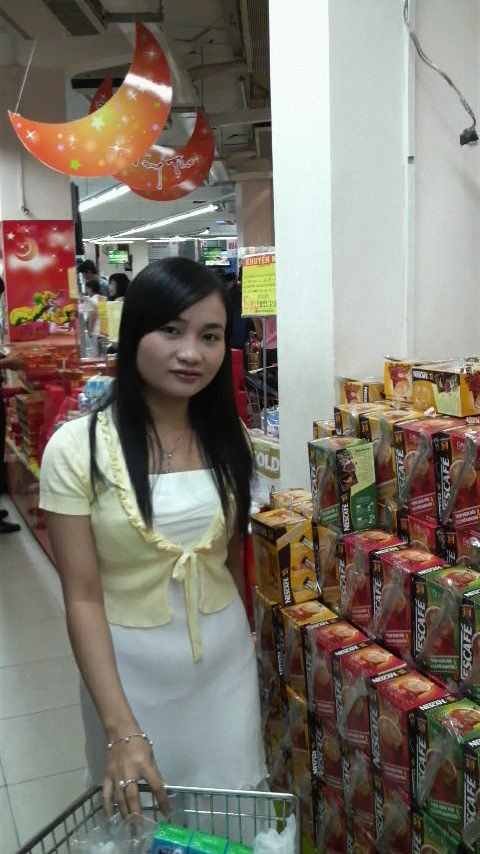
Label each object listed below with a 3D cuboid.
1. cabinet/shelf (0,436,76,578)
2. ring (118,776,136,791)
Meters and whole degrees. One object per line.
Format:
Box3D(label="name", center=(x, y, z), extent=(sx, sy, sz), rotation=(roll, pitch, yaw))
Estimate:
Box3D(label="cabinet/shelf", center=(-1.123, 0.458, 3.018), extent=(0.224, 0.681, 0.762), rotation=(-11, 40, -18))
Box3D(label="ring", center=(-0.135, 0.419, 0.667), extent=(0.012, 0.004, 0.010), rotation=(-14, 12, 10))
